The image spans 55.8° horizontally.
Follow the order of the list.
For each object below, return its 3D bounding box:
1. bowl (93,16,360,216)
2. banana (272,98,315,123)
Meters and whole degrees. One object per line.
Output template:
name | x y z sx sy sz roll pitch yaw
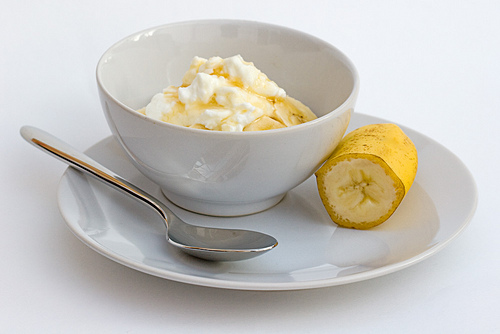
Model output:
bowl | -0.047 -0.170 1.756 0.827 0.439 0.840 4 23 -2
banana | 0.149 -0.197 1.671 0.105 0.029 0.108 0 49 -20
